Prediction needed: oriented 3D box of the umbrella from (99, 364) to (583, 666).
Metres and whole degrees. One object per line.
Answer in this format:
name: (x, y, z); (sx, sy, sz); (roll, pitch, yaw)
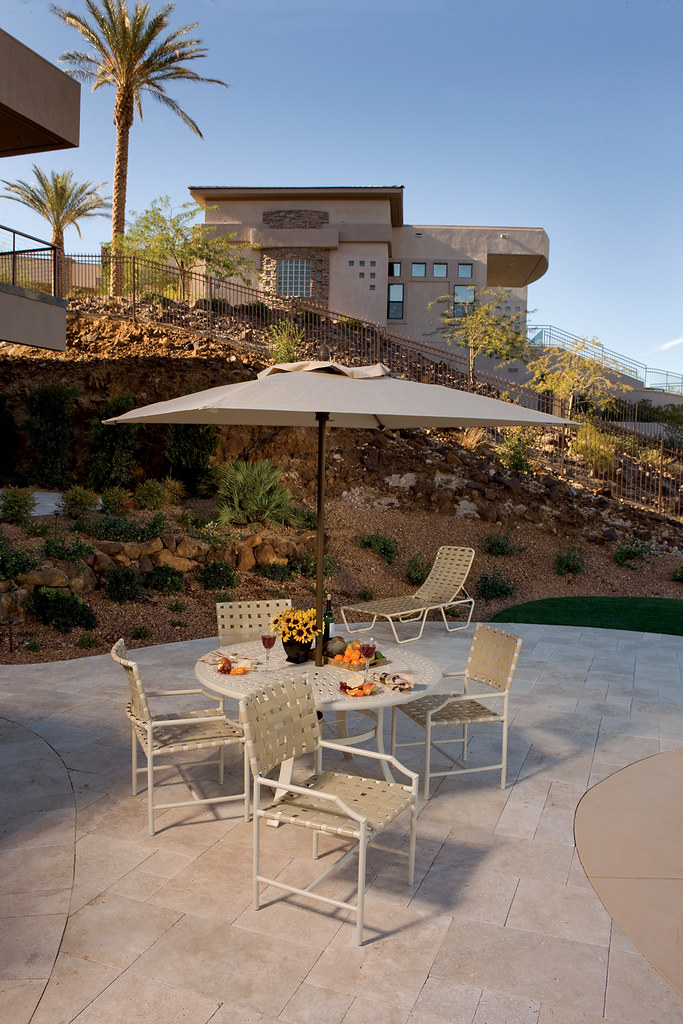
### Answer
umbrella: (-0.152, -0.035, 5.589); (2.036, 1.807, 2.145); (0, 4, -29)

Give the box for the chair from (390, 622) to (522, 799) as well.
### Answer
chair: (0.683, 1.208, 5.407); (0.755, 0.919, 0.782); (2, 2, 4)

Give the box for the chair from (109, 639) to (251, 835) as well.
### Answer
chair: (-0.879, 1.241, 4.900); (0.728, 0.933, 0.772); (5, 7, 44)

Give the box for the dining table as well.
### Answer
dining table: (-0.094, 1.193, 4.946); (0.992, 0.466, 0.986); (-9, 18, -30)

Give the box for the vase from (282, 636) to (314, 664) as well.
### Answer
vase: (-0.263, 0.841, 5.240); (0.145, 0.163, 0.160); (2, 3, 17)

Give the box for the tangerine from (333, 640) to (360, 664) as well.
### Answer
tangerine: (0.037, 0.827, 5.122); (0.112, 0.037, 0.112); (-6, 6, -15)

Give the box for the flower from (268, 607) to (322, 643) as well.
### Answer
flower: (-0.281, 0.704, 5.206); (0.213, 0.131, 0.219); (13, 25, 32)

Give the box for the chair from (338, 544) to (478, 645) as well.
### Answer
chair: (0.838, 1.004, 10.298); (1.547, 0.911, 0.825); (-3, 5, -36)
